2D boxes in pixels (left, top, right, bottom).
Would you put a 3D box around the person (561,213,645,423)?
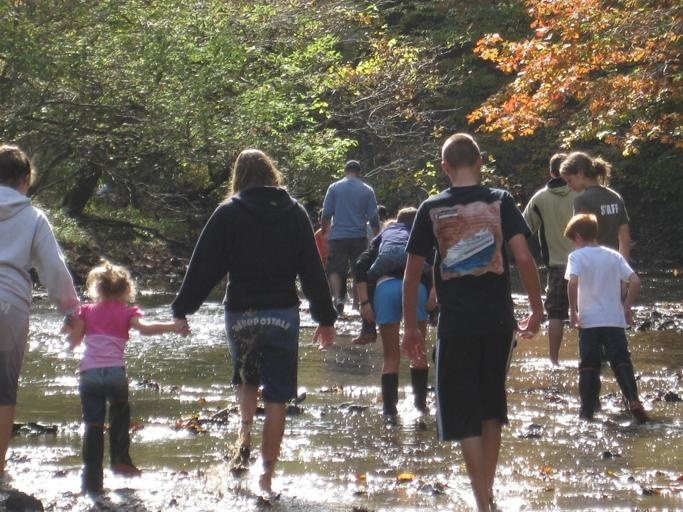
[{"bbox_3d":[3.562,0.830,17.962,1.049,2.843,0.867,-3,0,22],"label":"person"}]
